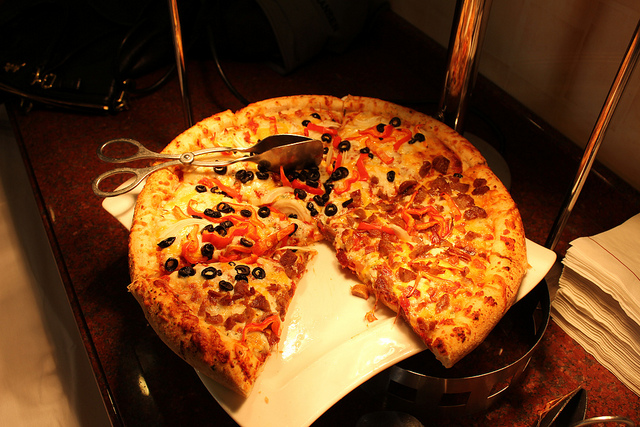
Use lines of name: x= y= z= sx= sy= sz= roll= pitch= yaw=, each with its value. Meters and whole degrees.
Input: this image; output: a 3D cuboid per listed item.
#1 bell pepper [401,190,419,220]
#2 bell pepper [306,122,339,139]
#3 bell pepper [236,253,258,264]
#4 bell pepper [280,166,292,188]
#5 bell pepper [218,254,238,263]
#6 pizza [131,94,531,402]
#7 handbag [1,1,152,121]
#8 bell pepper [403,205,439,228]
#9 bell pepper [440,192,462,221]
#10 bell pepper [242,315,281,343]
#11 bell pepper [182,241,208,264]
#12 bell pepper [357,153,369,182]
bell pepper: x=0.234 y=-0.031 z=1.244 sx=0.024 sy=0.029 sz=0.090 roll=30 pitch=63 yaw=7
bell pepper: x=0.005 y=-0.241 z=1.400 sx=0.107 sy=0.032 sz=0.030 roll=21 pitch=61 yaw=-4
bell pepper: x=-0.172 y=0.112 z=1.152 sx=0.046 sy=0.016 sz=0.023 roll=-15 pitch=60 yaw=-5
bell pepper: x=-0.094 y=-0.094 z=1.294 sx=0.014 sy=0.077 sz=0.025 roll=6 pitch=36 yaw=39
bell pepper: x=-0.220 y=0.109 z=1.156 sx=0.044 sy=0.023 sz=0.028 roll=-8 pitch=60 yaw=-1
pizza: x=0.003 y=0.001 z=1.211 sx=0.938 sy=0.155 sz=0.890 roll=-19 pitch=61 yaw=-8
handbag: x=-0.842 y=-0.549 z=1.698 sx=0.418 sy=0.152 sz=0.438 roll=14 pitch=78 yaw=-2
bell pepper: x=0.248 y=0.004 z=1.209 sx=0.067 sy=0.020 sz=0.051 roll=-30 pitch=64 yaw=-17
bell pepper: x=0.335 y=-0.016 z=1.224 sx=0.026 sy=0.021 sz=0.076 roll=-22 pitch=62 yaw=4
bell pepper: x=-0.124 y=0.257 z=1.048 sx=0.102 sy=0.041 sz=0.046 roll=-12 pitch=99 yaw=2
bell pepper: x=-0.300 y=0.097 z=1.145 sx=0.061 sy=0.028 sz=0.039 roll=38 pitch=68 yaw=22
bell pepper: x=0.119 y=-0.125 z=1.332 sx=0.037 sy=0.013 sz=0.112 roll=2 pitch=55 yaw=10
